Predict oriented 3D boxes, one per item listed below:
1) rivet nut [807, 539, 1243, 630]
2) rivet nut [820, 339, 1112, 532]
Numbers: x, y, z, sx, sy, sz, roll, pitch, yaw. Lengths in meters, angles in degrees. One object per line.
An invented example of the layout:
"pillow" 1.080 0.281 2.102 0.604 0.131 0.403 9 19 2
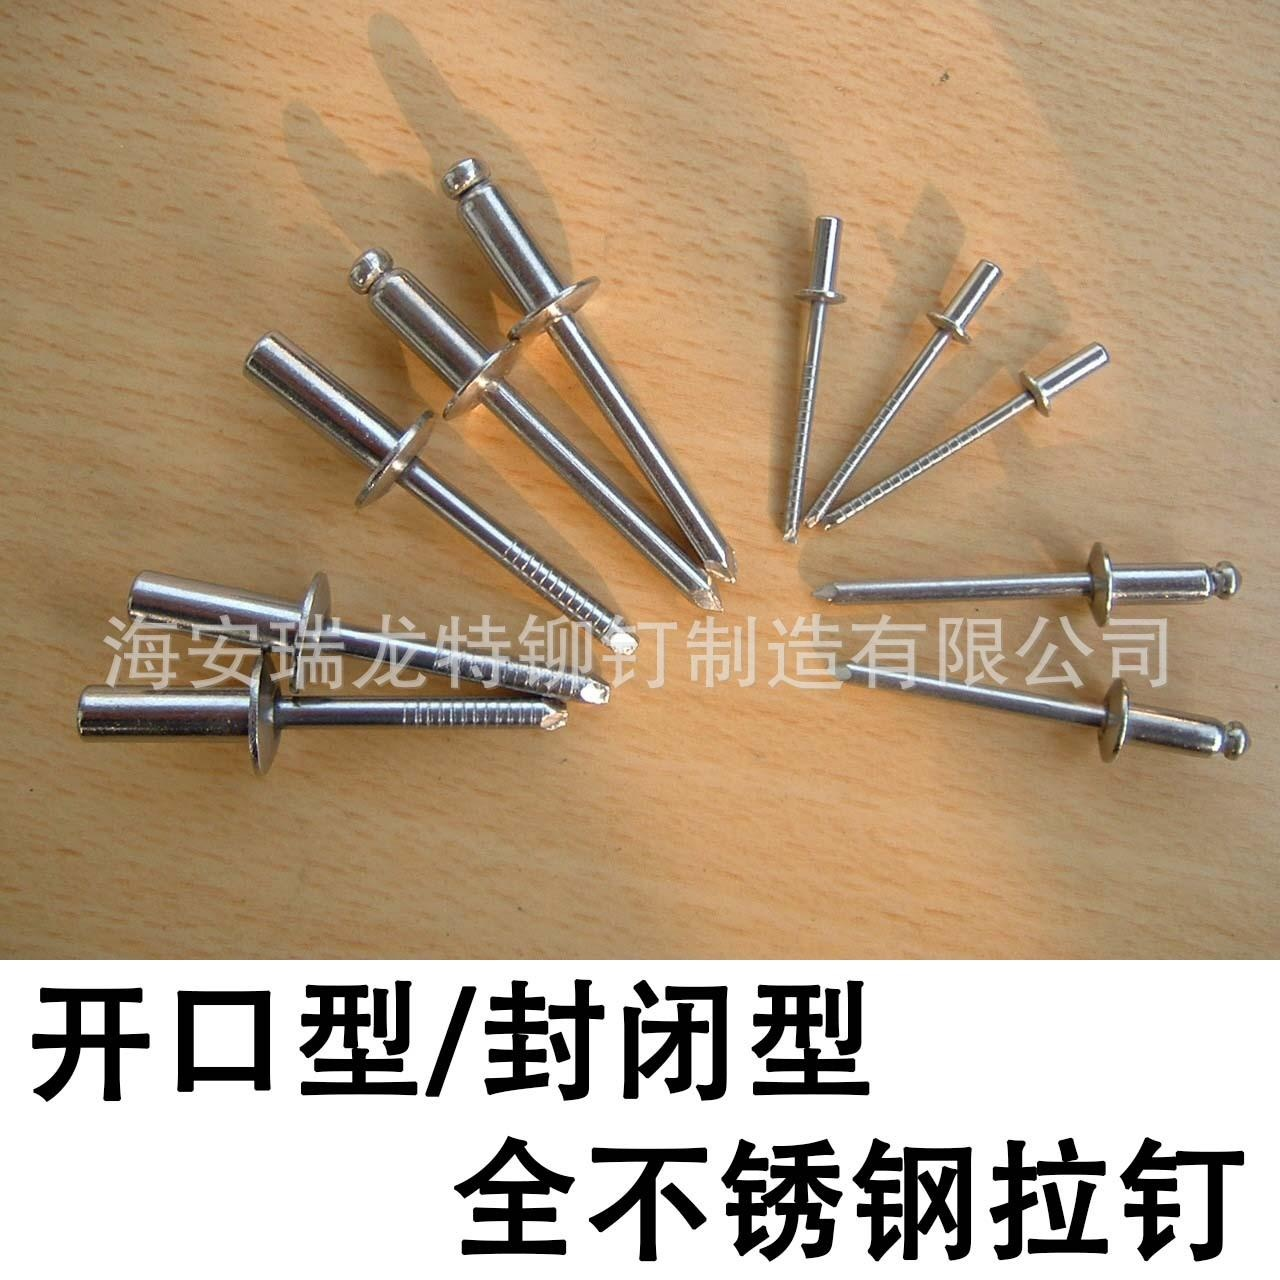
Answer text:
"rivet nut" 0.865 -0.108 3.160 0.960 0.181 0.203 0 -7 20
"rivet nut" 0.715 -0.456 3.158 0.696 0.136 0.139 -27 -39 -4
